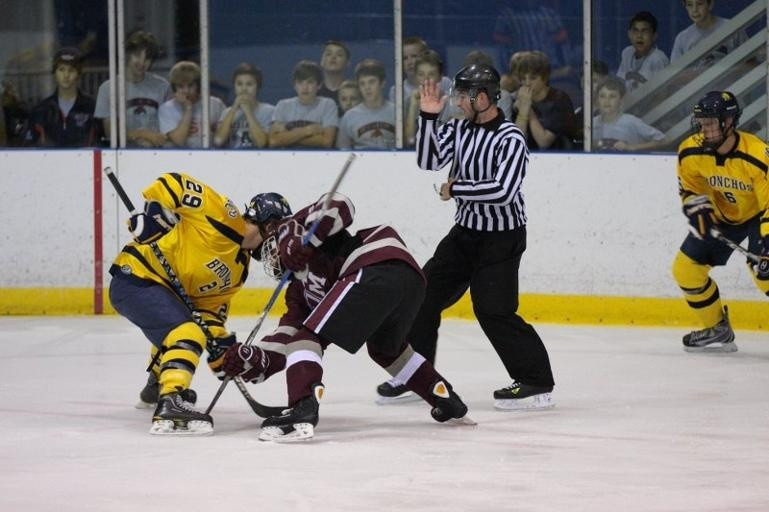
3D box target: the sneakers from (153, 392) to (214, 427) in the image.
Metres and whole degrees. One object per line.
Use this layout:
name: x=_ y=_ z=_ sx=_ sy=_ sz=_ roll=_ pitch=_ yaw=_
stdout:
sneakers: x=-1.175 y=0.880 z=6.441 sx=0.337 sy=0.198 sz=0.126 roll=-2 pitch=15 yaw=-8

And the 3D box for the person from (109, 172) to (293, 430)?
person: x=-1.170 y=0.313 z=6.758 sx=1.104 sy=1.413 sz=1.075 roll=5 pitch=-6 yaw=27

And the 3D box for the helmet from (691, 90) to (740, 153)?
helmet: x=2.452 y=-0.979 z=8.031 sx=0.388 sy=0.412 sz=0.318 roll=-9 pitch=12 yaw=-3

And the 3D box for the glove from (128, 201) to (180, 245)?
glove: x=-1.411 y=-0.208 z=6.683 sx=0.314 sy=0.270 sz=0.233 roll=-5 pitch=3 yaw=-33

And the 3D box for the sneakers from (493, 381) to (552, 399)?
sneakers: x=0.866 y=0.841 z=7.030 sx=0.385 sy=0.139 sz=0.126 roll=2 pitch=-9 yaw=-2

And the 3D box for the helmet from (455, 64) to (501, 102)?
helmet: x=0.587 y=-1.094 z=7.074 sx=0.350 sy=0.242 sz=0.274 roll=-2 pitch=21 yaw=-6

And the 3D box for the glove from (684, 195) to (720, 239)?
glove: x=2.327 y=-0.292 z=8.165 sx=0.125 sy=0.285 sz=0.294 roll=-21 pitch=-14 yaw=-29

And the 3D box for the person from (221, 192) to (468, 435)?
person: x=-0.386 y=0.343 z=6.594 sx=1.556 sy=1.453 sz=0.984 roll=-15 pitch=-20 yaw=22

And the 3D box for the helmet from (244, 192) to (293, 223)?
helmet: x=-0.688 y=-0.296 z=6.630 sx=0.247 sy=0.167 sz=0.186 roll=4 pitch=5 yaw=10

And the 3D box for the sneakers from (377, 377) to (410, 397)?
sneakers: x=0.030 y=0.847 z=7.189 sx=0.269 sy=0.098 sz=0.092 roll=5 pitch=-2 yaw=-6

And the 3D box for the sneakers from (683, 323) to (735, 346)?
sneakers: x=2.443 y=0.594 z=8.385 sx=0.410 sy=0.175 sz=0.156 roll=1 pitch=-3 yaw=9
